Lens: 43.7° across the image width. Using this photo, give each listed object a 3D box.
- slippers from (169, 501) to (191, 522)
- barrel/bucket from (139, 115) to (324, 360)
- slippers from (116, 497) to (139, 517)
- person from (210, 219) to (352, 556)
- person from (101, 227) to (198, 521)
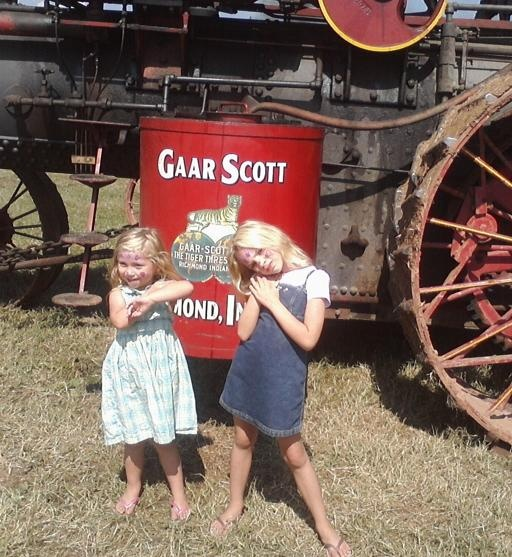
[{"bbox_3d":[-0.334,1.033,2.814,0.055,0.034,0.120,5,7,-8],"label":"slippers"},{"bbox_3d":[-0.193,-0.305,3.430,0.813,1.185,0.660,4,26,-2],"label":"barrel/bucket"},{"bbox_3d":[-0.572,1.015,2.837,0.050,0.027,0.103,1,10,-8],"label":"slippers"},{"bbox_3d":[0.136,0.451,2.704,0.602,1.315,0.485,6,13,6],"label":"person"},{"bbox_3d":[-0.465,0.418,2.830,0.422,1.230,0.429,2,13,-11],"label":"person"}]
